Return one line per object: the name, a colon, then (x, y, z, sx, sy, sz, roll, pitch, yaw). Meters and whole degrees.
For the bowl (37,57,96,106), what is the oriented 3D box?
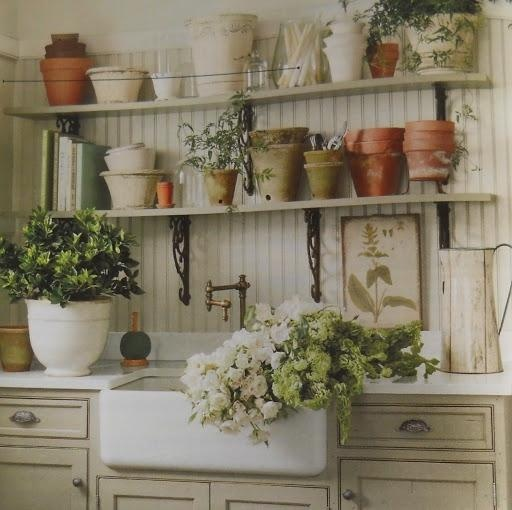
bowl: (-0.699, -0.648, 3.358, 0.221, 0.174, 0.226, 1, 13, 0)

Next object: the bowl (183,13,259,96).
bowl: (-0.093, -0.674, 3.213, 0.283, 0.287, 0.273, -1, -3, 0)

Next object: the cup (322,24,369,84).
cup: (0.299, -0.676, 3.022, 0.183, 0.209, 0.183, 0, -6, 0)

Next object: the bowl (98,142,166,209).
bowl: (-0.440, -0.282, 3.204, 0.229, 0.216, 0.229, 1, -2, 0)

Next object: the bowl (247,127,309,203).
bowl: (0.078, -0.317, 3.138, 0.198, 0.257, 0.187, 0, 2, 0)

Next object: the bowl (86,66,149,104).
bowl: (-0.502, -0.627, 3.310, 0.228, 0.131, 0.223, -3, 12, 1)

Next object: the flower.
flower: (0.153, 0.301, 2.573, 0.597, 0.300, 0.449, -14, 11, -11)

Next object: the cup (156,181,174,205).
cup: (-0.319, -0.226, 3.193, 0.070, 0.086, 0.072, -1, 2, 0)

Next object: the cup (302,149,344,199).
cup: (0.223, -0.271, 3.054, 0.155, 0.166, 0.153, 0, -5, 0)

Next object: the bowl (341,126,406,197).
bowl: (0.381, -0.306, 3.057, 0.217, 0.228, 0.221, -1, -6, 0)
